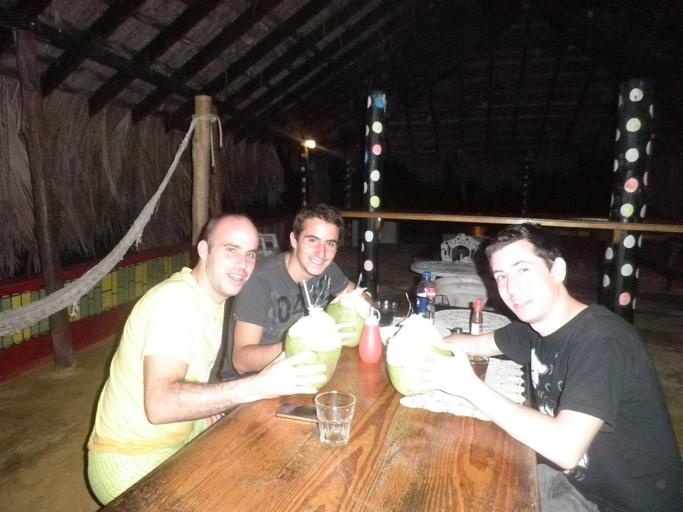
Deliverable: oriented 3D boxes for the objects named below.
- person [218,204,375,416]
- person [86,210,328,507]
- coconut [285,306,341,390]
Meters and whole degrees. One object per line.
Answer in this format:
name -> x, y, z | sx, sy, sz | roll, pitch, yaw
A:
person -> -0.323, 0.238, 3.128 | 0.627, 1.302, 0.612 | 0, 12, -44
person -> -0.790, 0.499, 2.576 | 0.773, 1.882, 0.811 | 1, 3, 8
coconut -> -0.109, 0.373, 2.261 | 0.238, 0.348, 0.353 | 3, 8, 15
